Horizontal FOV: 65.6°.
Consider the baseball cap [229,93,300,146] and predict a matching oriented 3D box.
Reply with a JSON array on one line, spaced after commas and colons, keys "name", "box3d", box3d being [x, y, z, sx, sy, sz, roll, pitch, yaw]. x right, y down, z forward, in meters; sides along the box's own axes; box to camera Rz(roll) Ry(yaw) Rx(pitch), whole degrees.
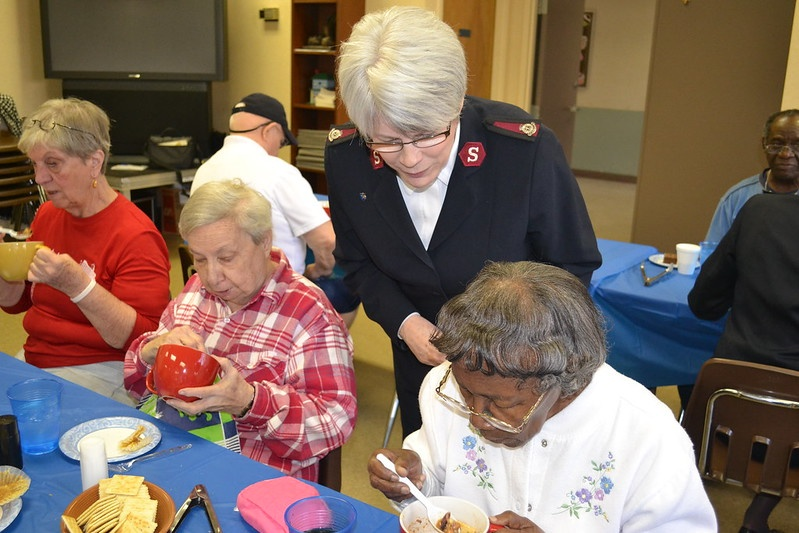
[{"name": "baseball cap", "box3d": [-0.772, -0.859, 3.652, 0.353, 0.190, 0.246, 26, -4, -37]}]

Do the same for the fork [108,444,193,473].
[{"name": "fork", "box3d": [-0.729, 0.557, 1.804, 0.172, 0.026, 0.025, -13, 31, -34]}]

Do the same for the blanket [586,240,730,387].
[{"name": "blanket", "box3d": [1.185, 0.256, 3.205, 0.833, 0.218, 0.828, -15, 22, -37]}]

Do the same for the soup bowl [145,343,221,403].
[{"name": "soup bowl", "box3d": [-0.668, 0.321, 1.930, 0.212, 0.179, 0.238, 1, -7, -15]}]

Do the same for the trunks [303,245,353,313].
[{"name": "trunks", "box3d": [-0.341, 0.049, 2.933, 0.118, 0.095, 0.358, 35, 1, 26]}]

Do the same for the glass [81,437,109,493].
[{"name": "glass", "box3d": [-0.840, 0.536, 1.707, 0.067, 0.124, 0.070, 13, 14, 38]}]

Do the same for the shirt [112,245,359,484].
[{"name": "shirt", "box3d": [-0.575, 0.331, 2.092, 0.783, 0.649, 0.420, 16, 6, 31]}]

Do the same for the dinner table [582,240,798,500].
[{"name": "dinner table", "box3d": [1.332, 0.422, 3.567, 0.989, 1.327, 1.037, 8, 14, 16]}]

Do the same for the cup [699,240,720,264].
[{"name": "cup", "box3d": [1.546, -0.069, 3.095, 0.116, 0.139, 0.082, -5, 7, -44]}]

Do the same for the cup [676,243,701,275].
[{"name": "cup", "box3d": [1.555, -0.043, 3.337, 0.141, 0.165, 0.148, 1, 7, 0]}]

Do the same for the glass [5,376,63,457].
[{"name": "glass", "box3d": [-1.081, 0.433, 1.860, 0.190, 0.237, 0.196, -3, -6, -8]}]

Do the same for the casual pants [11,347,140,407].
[{"name": "casual pants", "box3d": [-1.194, 0.413, 2.319, 0.305, 0.341, 0.192, -4, 11, 33]}]

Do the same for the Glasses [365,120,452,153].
[{"name": "Glasses", "box3d": [0.029, -0.378, 1.856, 0.257, 0.077, 0.101, 0, 19, -1]}]
